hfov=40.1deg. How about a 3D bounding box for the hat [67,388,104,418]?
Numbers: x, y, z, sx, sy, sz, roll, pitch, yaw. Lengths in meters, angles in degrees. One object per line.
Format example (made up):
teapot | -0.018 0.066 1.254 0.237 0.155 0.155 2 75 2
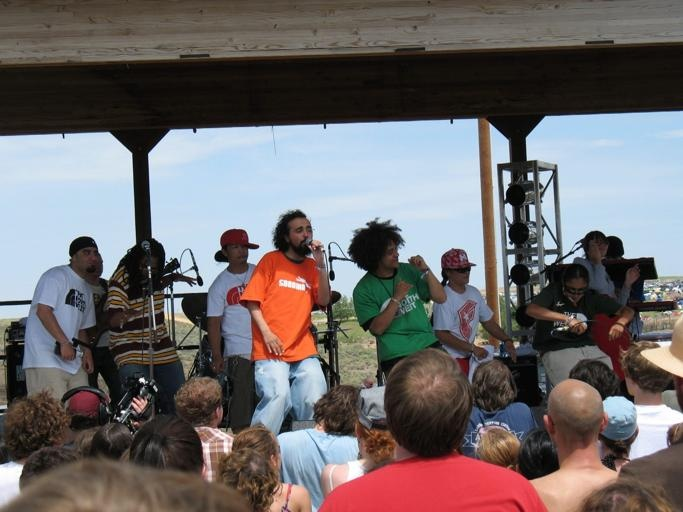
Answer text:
hat | -2.064 1.207 7.676 0.213 0.216 0.089 -4 14 -9

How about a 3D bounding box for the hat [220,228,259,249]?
hat | -1.066 -0.186 9.789 0.271 0.166 0.184 -3 -1 16

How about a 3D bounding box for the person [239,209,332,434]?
person | -0.457 0.568 8.418 0.808 1.739 0.645 -4 1 -18

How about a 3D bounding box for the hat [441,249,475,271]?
hat | 1.140 0.041 9.242 0.250 0.171 0.173 -11 -6 36

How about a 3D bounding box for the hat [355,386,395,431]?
hat | 0.232 1.020 6.328 0.206 0.247 0.302 0 -19 -6

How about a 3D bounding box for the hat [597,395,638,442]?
hat | 1.999 1.188 6.729 0.226 0.191 0.329 -5 16 9

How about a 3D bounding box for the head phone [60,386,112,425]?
head phone | -2.043 1.246 7.551 0.427 0.420 0.176 -4 21 -12
